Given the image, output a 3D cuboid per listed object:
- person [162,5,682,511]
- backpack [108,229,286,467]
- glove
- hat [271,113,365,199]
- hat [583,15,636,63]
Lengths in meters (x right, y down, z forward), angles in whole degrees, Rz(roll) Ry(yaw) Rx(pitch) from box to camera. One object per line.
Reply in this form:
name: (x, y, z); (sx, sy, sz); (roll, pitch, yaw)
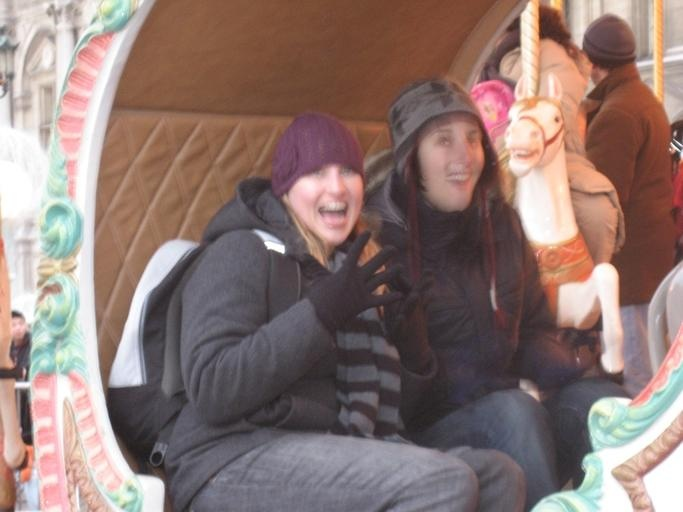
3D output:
person: (0.582, -0.079, 3.711); (1.203, 2.321, 0.758); (-8, -14, -9)
backpack: (-0.702, 0.367, 3.414); (0.399, 0.850, 0.222); (-4, -5, -10)
glove: (0.083, 0.186, 3.440); (0.126, 0.300, 0.414); (-33, -1, -44)
hat: (-0.102, -0.422, 3.569); (0.285, 0.298, 0.305); (-11, -9, -31)
hat: (1.109, -0.878, 3.736); (0.150, 0.205, 0.189); (-8, -47, 1)
